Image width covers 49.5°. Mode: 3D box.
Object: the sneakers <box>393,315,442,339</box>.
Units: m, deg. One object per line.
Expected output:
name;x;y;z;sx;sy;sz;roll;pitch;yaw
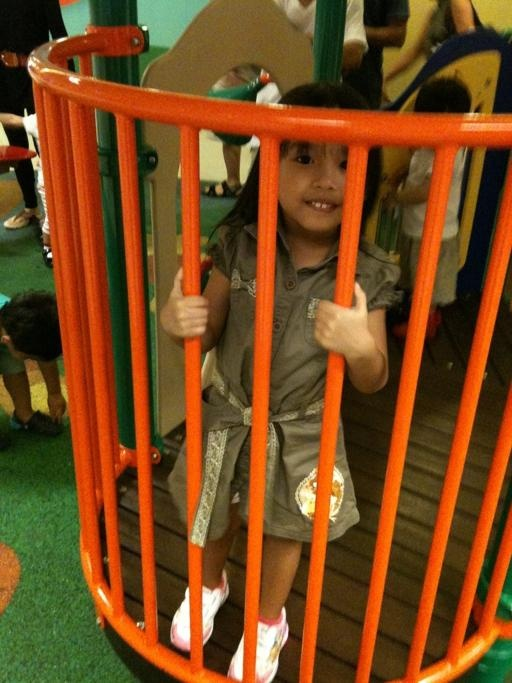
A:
sneakers;0.456;-0.040;1.566;0.111;0.078;0.043;8;46;-2

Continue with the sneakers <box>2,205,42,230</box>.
sneakers;-1.706;-0.885;4.102;0.263;0.096;0.145;-38;64;-26

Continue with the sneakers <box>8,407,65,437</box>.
sneakers;-0.808;0.310;2.054;0.176;0.074;0.087;9;26;0
